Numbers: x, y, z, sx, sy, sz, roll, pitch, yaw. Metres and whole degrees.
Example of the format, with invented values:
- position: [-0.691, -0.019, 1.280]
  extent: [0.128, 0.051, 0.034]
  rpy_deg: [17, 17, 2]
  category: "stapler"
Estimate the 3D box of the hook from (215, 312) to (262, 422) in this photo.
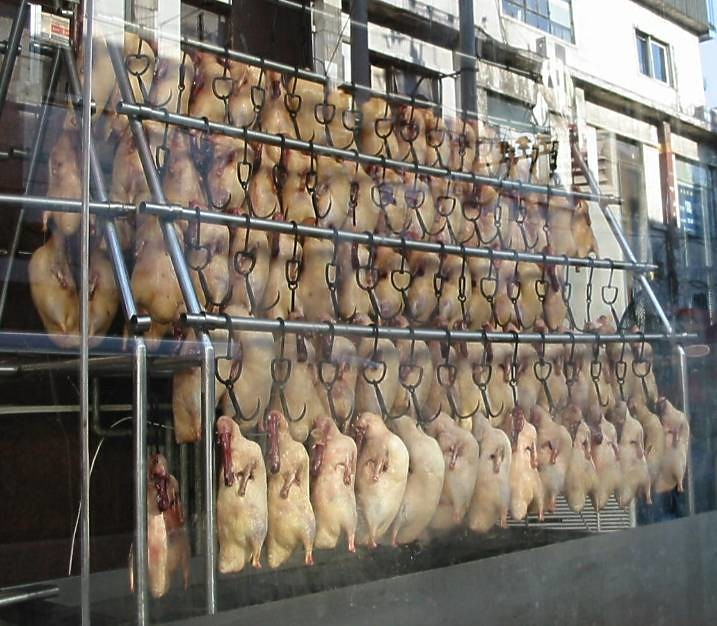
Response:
- position: [-0.349, 0.143, 3.056]
  extent: [0.077, 0.309, 0.167]
  rpy_deg: [9, 11, 40]
  category: "hook"

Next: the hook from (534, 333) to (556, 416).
- position: [0.620, 0.221, 3.683]
  extent: [0.045, 0.040, 0.277]
  rpy_deg: [-4, 45, 14]
  category: "hook"

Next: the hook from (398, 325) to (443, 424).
- position: [0.189, 0.181, 3.411]
  extent: [0.148, 0.419, 0.070]
  rpy_deg: [-8, 26, -15]
  category: "hook"

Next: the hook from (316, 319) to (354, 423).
- position: [-0.064, 0.170, 3.244]
  extent: [0.097, 0.271, 0.051]
  rpy_deg: [-5, 10, -31]
  category: "hook"

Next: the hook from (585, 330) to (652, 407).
- position: [0.940, 0.212, 3.875]
  extent: [0.171, 0.289, 0.065]
  rpy_deg: [-2, 12, -11]
  category: "hook"

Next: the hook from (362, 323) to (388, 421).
- position: [0.048, 0.182, 3.354]
  extent: [0.094, 0.226, 0.037]
  rpy_deg: [-3, 9, -41]
  category: "hook"

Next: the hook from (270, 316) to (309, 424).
- position: [-0.194, 0.197, 3.175]
  extent: [0.049, 0.261, 0.131]
  rpy_deg: [9, 11, 42]
  category: "hook"

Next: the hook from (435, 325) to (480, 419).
- position: [0.287, 0.227, 3.483]
  extent: [0.149, 0.381, 0.033]
  rpy_deg: [1, 37, 15]
  category: "hook"

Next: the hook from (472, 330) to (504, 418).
- position: [0.406, 0.231, 3.536]
  extent: [0.087, 0.318, 0.032]
  rpy_deg: [10, 33, 34]
  category: "hook"
